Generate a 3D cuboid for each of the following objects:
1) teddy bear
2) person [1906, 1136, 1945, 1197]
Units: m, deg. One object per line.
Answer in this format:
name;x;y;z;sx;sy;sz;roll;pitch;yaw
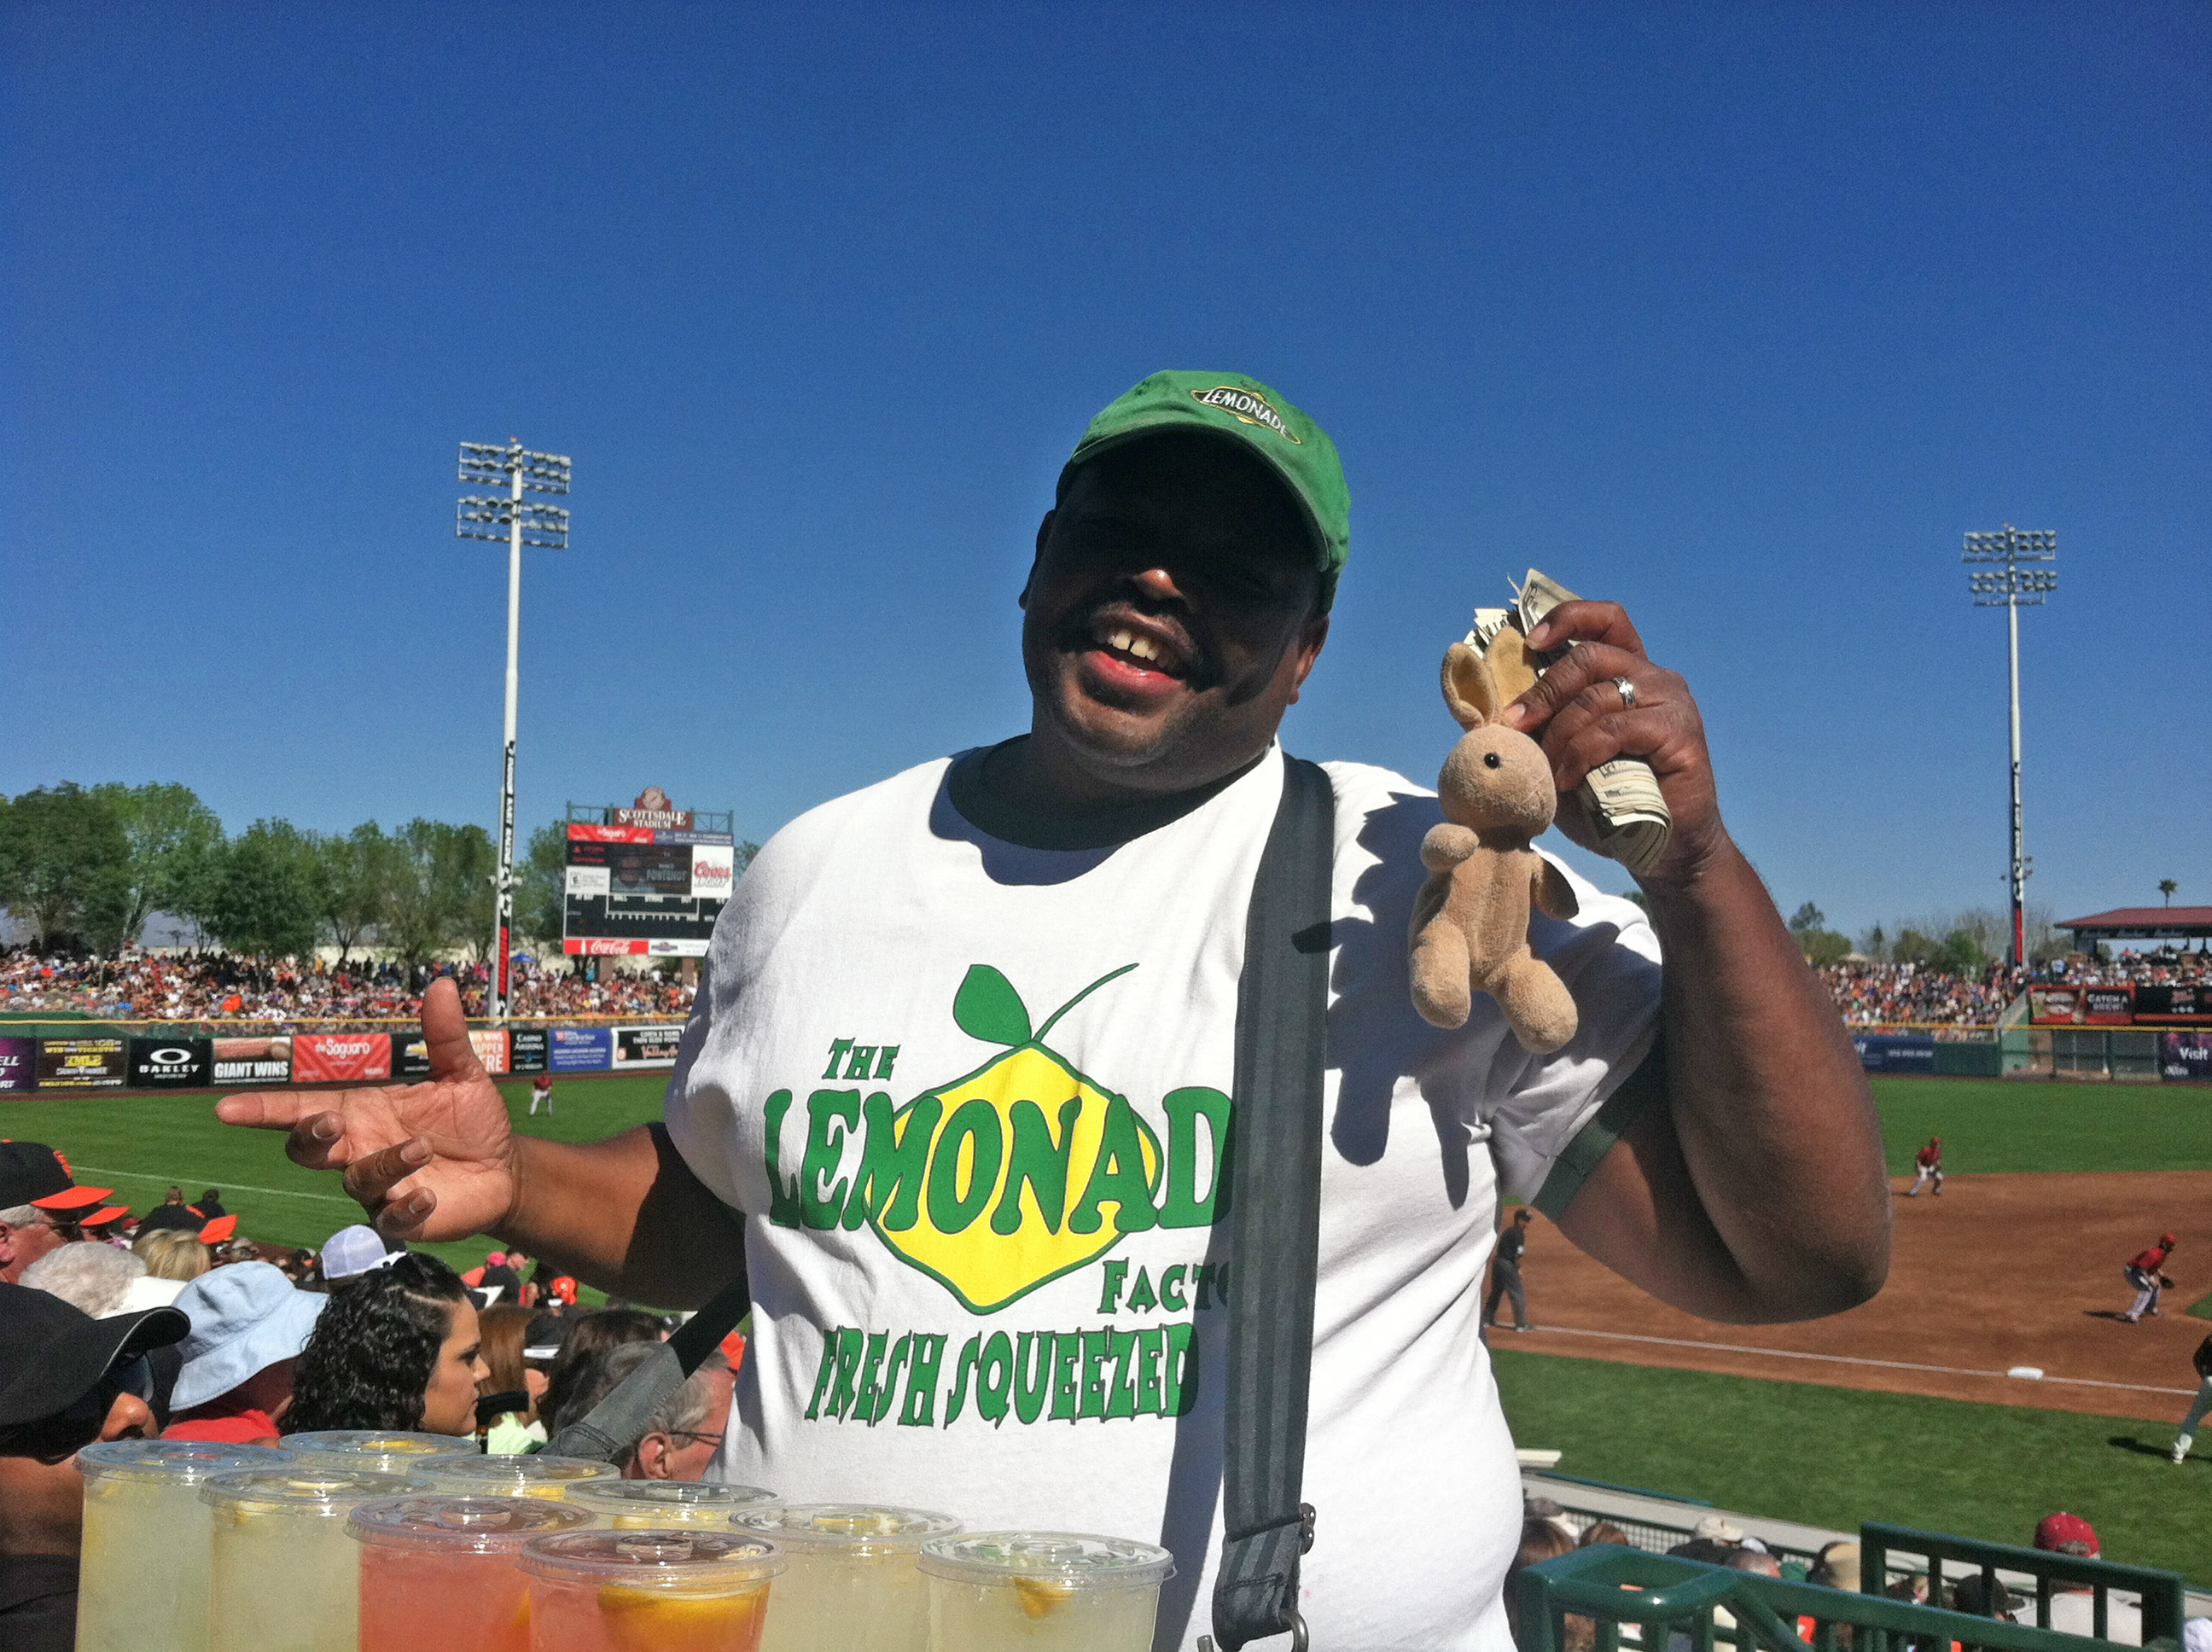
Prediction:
teddy bear;0.640;-0.004;3.281;0.261;0.722;0.215;0;-8;14
person;12.130;5.017;29.711;0.531;1.150;0.700;-3;-42;21
